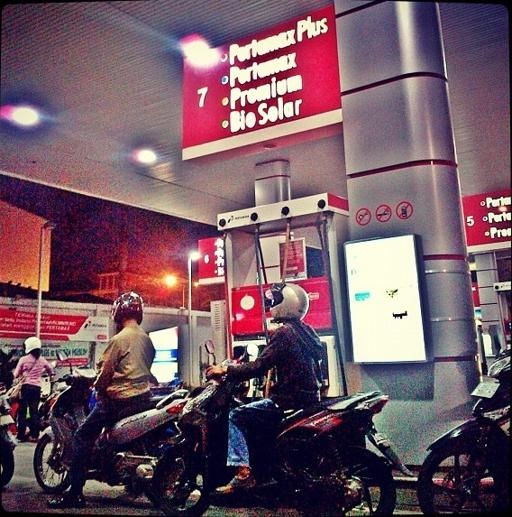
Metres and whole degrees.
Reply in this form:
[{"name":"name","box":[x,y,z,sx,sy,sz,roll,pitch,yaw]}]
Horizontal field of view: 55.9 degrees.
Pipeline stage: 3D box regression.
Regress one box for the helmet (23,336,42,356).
[{"name":"helmet","box":[-4.223,1.688,9.283,0.309,0.358,0.399,12,-38,-37]}]

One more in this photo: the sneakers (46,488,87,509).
[{"name":"sneakers","box":[-1.644,2.070,4.177,0.357,0.155,0.105,-5,-9,14]}]

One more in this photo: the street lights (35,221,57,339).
[{"name":"street lights","box":[-6.986,0.751,15.576,0.547,3.807,0.525,4,2,-36]}]

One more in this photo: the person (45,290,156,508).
[{"name":"person","box":[-1.288,1.379,4.269,0.816,1.515,0.390,1,-9,-23]}]

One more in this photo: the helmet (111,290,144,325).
[{"name":"helmet","box":[-1.211,0.450,4.604,0.329,0.295,0.267,-5,-2,10]}]

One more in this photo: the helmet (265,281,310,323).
[{"name":"helmet","box":[0.246,0.338,3.833,0.339,0.300,0.267,-6,-14,8]}]

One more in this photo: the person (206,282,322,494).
[{"name":"person","box":[0.104,0.924,3.599,0.805,1.483,0.397,-4,-8,8]}]

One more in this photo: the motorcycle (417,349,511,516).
[{"name":"motorcycle","box":[1.523,1.200,3.395,0.586,1.012,0.830,-9,-10,35]}]
